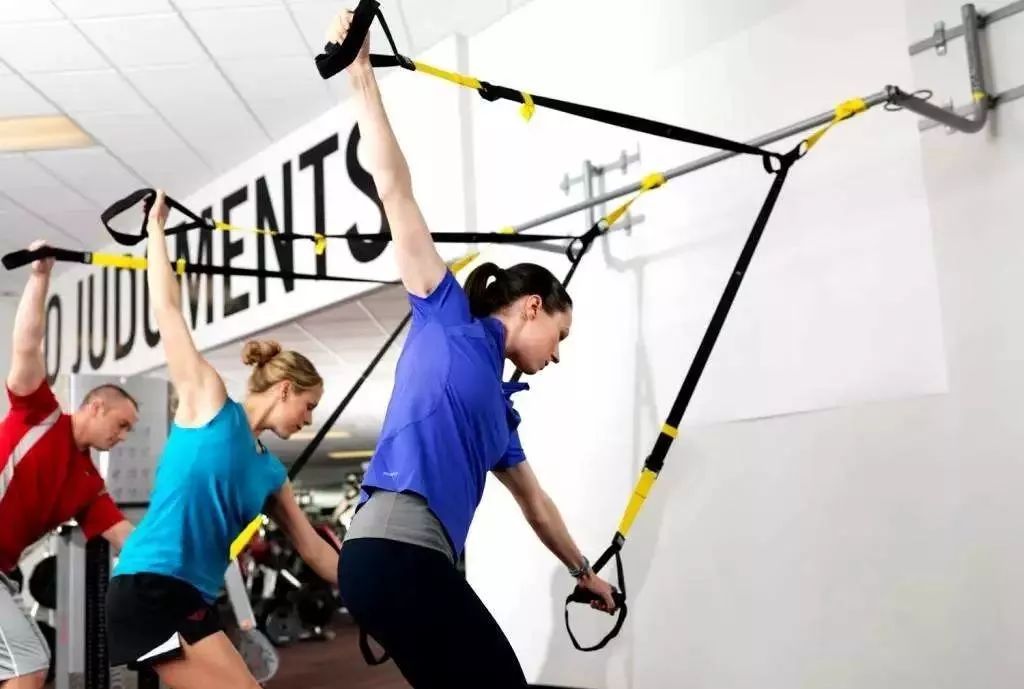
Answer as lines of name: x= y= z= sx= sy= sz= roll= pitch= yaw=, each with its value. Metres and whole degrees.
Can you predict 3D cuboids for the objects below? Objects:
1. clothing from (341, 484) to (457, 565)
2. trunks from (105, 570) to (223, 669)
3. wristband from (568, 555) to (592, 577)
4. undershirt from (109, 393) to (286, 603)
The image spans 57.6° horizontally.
clothing: x=-0.324 y=0.514 z=2.676 sx=0.356 sy=0.198 sz=0.195 roll=14 pitch=-37 yaw=1
trunks: x=-1.207 y=0.916 z=3.220 sx=0.407 sy=0.315 sz=0.318 roll=-6 pitch=-7 yaw=-36
wristband: x=0.246 y=0.822 z=3.440 sx=0.092 sy=0.052 sz=0.074 roll=-13 pitch=-19 yaw=38
undershirt: x=-1.085 y=0.565 z=3.317 sx=0.341 sy=0.655 sz=0.497 roll=8 pitch=-18 yaw=32
